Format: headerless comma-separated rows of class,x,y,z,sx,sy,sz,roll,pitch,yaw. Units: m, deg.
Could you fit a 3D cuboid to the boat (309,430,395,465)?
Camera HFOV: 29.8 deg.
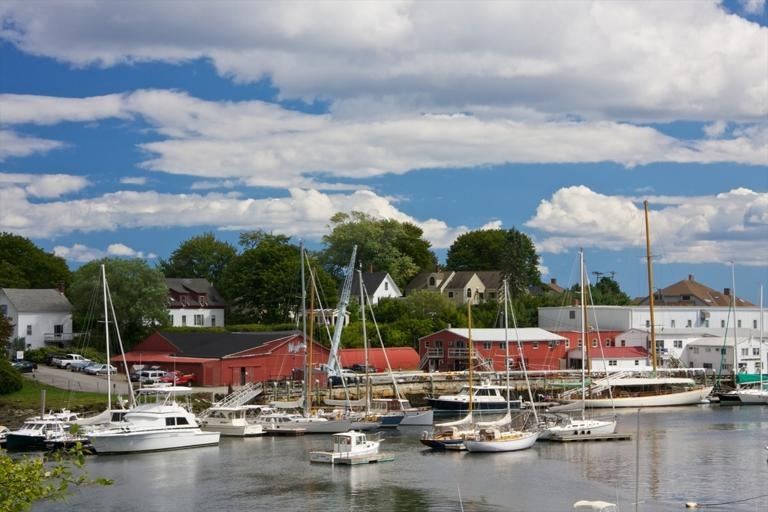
boat,-2.385,17.893,131.922,3.768,1.737,5.190,-5,-6,38
